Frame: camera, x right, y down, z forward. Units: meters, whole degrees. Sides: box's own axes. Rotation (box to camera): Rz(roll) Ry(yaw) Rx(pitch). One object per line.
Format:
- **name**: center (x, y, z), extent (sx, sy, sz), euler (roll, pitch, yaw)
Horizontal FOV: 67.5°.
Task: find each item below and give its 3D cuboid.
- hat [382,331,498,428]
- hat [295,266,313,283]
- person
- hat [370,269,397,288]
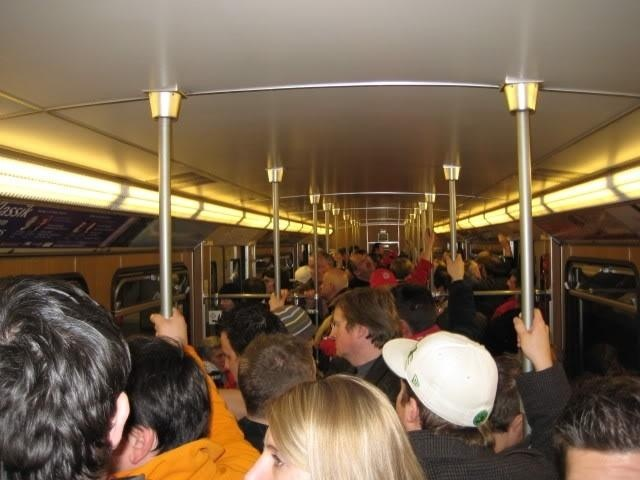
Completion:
- **hat**: center (0.556, 0.589, 2.040), extent (0.383, 0.381, 0.243), euler (-4, -8, 15)
- **hat**: center (-0.267, 0.555, 7.690), extent (0.204, 0.264, 0.319), euler (2, -7, -4)
- **person**: center (0.223, 0.632, 2.232), extent (1.962, 0.693, 0.850), euler (-7, -9, 26)
- **hat**: center (0.811, 0.488, 6.040), extent (0.264, 0.260, 0.426), euler (-3, 4, -5)
